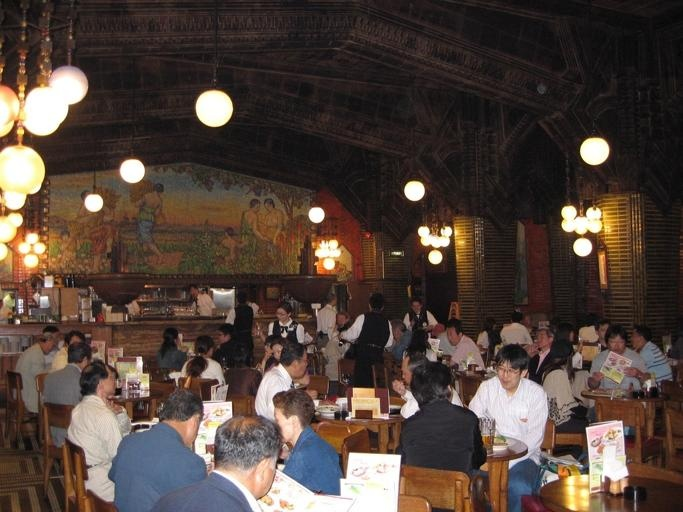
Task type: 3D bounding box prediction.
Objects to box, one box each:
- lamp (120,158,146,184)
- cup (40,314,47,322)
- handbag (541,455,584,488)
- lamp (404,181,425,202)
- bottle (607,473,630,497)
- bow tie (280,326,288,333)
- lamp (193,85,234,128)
[{"bbox_3d":[-3.008,-1.263,9.214,0.285,0.344,0.371,4,-10,-12],"label":"lamp"},{"bbox_3d":[-5.882,1.180,12.676,0.108,0.122,0.111,0,-5,0],"label":"cup"},{"bbox_3d":[1.817,1.779,5.335,0.328,0.184,0.422,2,-2,-44],"label":"handbag"},{"bbox_3d":[1.336,-1.258,11.895,0.321,0.391,0.299,0,-10,12],"label":"lamp"},{"bbox_3d":[1.916,1.579,4.466,0.088,0.063,0.156,0,-2,4],"label":"bottle"},{"bbox_3d":[-0.941,1.146,10.286,0.106,0.109,0.029,-1,0,-4],"label":"bow tie"},{"bbox_3d":[-1.421,-1.659,7.102,0.363,0.438,0.395,5,-10,-15],"label":"lamp"}]
